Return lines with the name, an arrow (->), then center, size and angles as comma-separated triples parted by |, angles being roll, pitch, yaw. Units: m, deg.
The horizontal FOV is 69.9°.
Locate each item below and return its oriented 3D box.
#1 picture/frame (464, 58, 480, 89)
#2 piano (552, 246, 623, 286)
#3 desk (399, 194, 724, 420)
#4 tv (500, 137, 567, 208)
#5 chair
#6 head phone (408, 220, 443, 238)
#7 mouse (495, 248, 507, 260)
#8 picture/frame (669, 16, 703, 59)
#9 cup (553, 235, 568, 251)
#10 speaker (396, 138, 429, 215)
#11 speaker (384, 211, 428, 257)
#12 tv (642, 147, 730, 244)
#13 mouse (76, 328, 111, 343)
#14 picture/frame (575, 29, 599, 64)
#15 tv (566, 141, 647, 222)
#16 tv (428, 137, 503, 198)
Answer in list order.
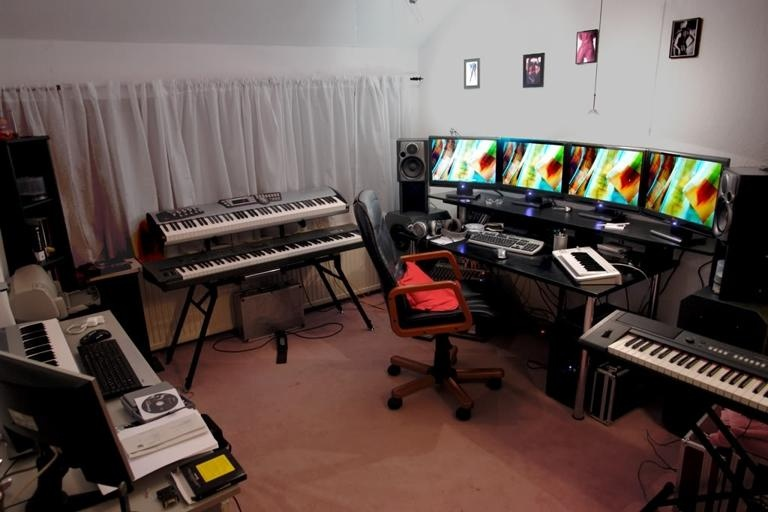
picture/frame -> 0.841, -1.749, 5.228 | 0.024, 0.365, 0.262 | -6, 10, -42
piano -> 1.456, 0.066, 3.952 | 0.324, 0.106, 0.501 | -7, 22, -4
desk -> 1.224, 0.462, 3.482 | 0.889, 0.819, 1.773 | 23, -4, -11
tv -> 1.239, -0.707, 4.621 | 0.569, 0.536, 0.159 | 16, 23, 42
chair -> 0.330, 0.297, 4.205 | 0.988, 1.560, 1.012 | 11, 22, 43
head phone -> 0.334, -0.248, 4.693 | 0.155, 0.071, 0.196 | -4, 21, -35
mouse -> 0.897, -0.020, 4.197 | 0.073, 0.039, 0.079 | 3, 11, 24
picture/frame -> 2.206, -1.591, 3.985 | 0.046, 0.373, 0.262 | -8, 15, -37
cup -> 1.361, -0.108, 4.232 | 0.106, 0.188, 0.115 | 1, 5, 0
speaker -> 0.331, -0.747, 5.145 | 0.297, 0.701, 0.355 | 3, 7, 29
speaker -> 0.202, -0.170, 4.916 | 0.385, 0.440, 0.328 | -6, 18, 6
tv -> 2.073, -0.457, 3.823 | 0.107, 0.533, 0.586 | -10, 22, -24
mouse -> -1.820, 0.494, 3.436 | 0.139, 0.048, 0.080 | -11, 24, -36
picture/frame -> 1.655, -1.706, 4.452 | 0.033, 0.342, 0.255 | -11, 15, -42
tv -> 1.669, -0.590, 4.234 | 0.550, 0.528, 0.121 | 8, 0, 5
tv -> 0.736, -0.816, 4.916 | 0.483, 0.397, 0.132 | 6, 16, 25
